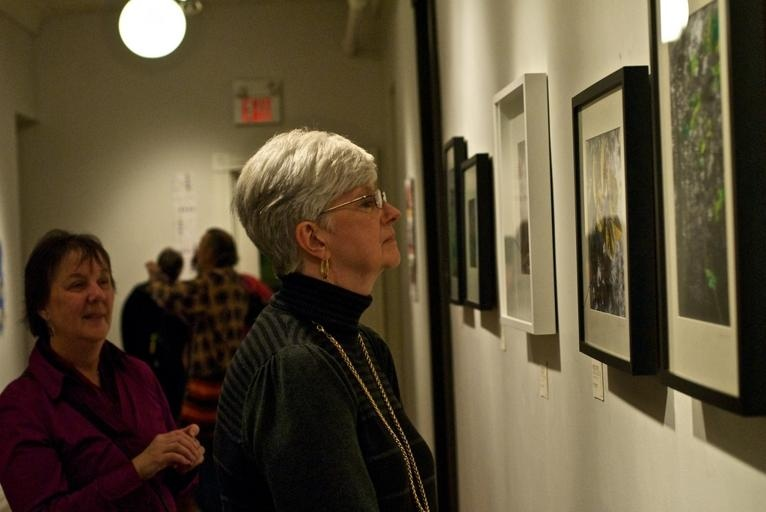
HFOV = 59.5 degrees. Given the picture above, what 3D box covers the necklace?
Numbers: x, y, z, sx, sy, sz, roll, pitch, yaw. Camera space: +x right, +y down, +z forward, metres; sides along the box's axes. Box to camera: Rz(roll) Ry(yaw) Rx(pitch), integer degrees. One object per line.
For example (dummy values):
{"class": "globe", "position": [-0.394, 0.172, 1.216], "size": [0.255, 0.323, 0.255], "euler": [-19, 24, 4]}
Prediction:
{"class": "necklace", "position": [-0.031, 0.240, 1.340], "size": [0.135, 0.483, 0.029], "euler": [2, -40, -35]}
